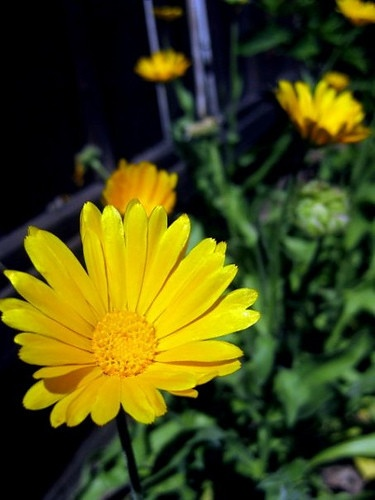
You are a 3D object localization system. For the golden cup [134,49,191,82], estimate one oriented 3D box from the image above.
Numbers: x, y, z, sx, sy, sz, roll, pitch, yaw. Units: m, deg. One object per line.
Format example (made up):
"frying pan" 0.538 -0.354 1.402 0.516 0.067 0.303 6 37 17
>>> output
"golden cup" -0.019 -0.138 0.341 0.041 0.024 0.016 -10 36 0
